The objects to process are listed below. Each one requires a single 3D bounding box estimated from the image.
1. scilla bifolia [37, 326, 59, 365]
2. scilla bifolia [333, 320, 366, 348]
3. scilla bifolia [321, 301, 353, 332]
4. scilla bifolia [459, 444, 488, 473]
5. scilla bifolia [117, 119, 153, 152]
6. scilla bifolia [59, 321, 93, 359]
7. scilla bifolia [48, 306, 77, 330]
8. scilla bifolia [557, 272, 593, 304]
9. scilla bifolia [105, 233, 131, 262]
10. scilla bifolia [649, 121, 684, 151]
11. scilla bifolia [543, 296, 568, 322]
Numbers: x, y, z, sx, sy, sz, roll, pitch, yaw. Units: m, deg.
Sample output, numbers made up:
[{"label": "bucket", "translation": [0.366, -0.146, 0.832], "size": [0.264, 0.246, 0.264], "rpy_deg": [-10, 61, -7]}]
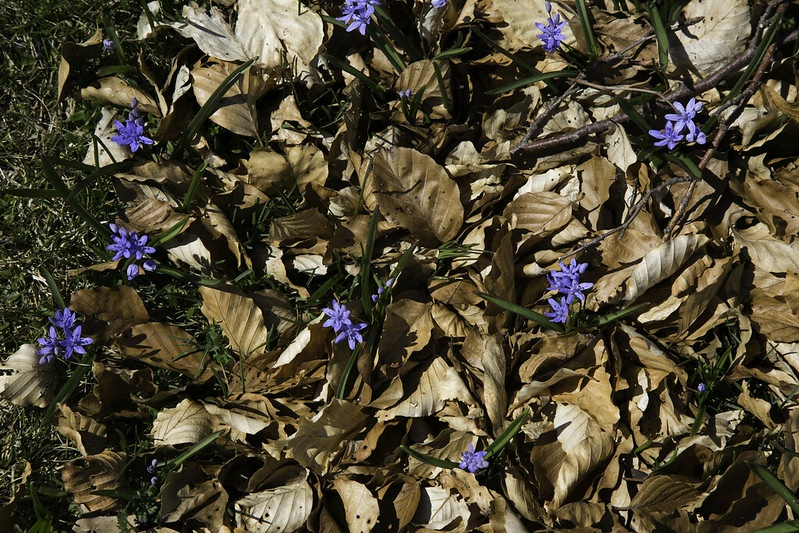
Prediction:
[{"label": "scilla bifolia", "translation": [-1.683, 0.382, 3.888], "size": [0.142, 0.079, 0.187], "rpy_deg": [2, 93, 45]}, {"label": "scilla bifolia", "translation": [-0.224, 0.308, 3.736], "size": [0.116, 0.210, 0.144], "rpy_deg": [21, 83, 6]}, {"label": "scilla bifolia", "translation": [-0.274, 0.239, 3.723], "size": [0.123, 0.046, 0.143], "rpy_deg": [11, 74, 13]}, {"label": "scilla bifolia", "translation": [0.339, 0.885, 3.721], "size": [0.123, 0.213, 0.122], "rpy_deg": [18, 82, 6]}, {"label": "scilla bifolia", "translation": [-1.302, -0.642, 4.012], "size": [0.144, 0.086, 0.196], "rpy_deg": [6, 98, 4]}, {"label": "scilla bifolia", "translation": [-1.542, 0.339, 3.838], "size": [0.136, 0.074, 0.170], "rpy_deg": [-8, 90, -11]}, {"label": "scilla bifolia", "translation": [-1.607, 0.251, 3.918], "size": [0.101, 0.057, 0.140], "rpy_deg": [-4, 80, 0]}, {"label": "scilla bifolia", "translation": [0.799, 0.102, 3.771], "size": [0.136, 0.208, 0.114], "rpy_deg": [-3, 81, 3]}, {"label": "scilla bifolia", "translation": [-1.329, -0.096, 3.871], "size": [0.107, 0.101, 0.114], "rpy_deg": [-3, 82, 2]}, {"label": "scilla bifolia", "translation": [1.239, -0.578, 3.777], "size": [0.130, 0.066, 0.165], "rpy_deg": [16, 98, 23]}, {"label": "scilla bifolia", "translation": [0.722, 0.195, 3.733], "size": [0.111, 0.185, 0.116], "rpy_deg": [6, 81, 4]}]
